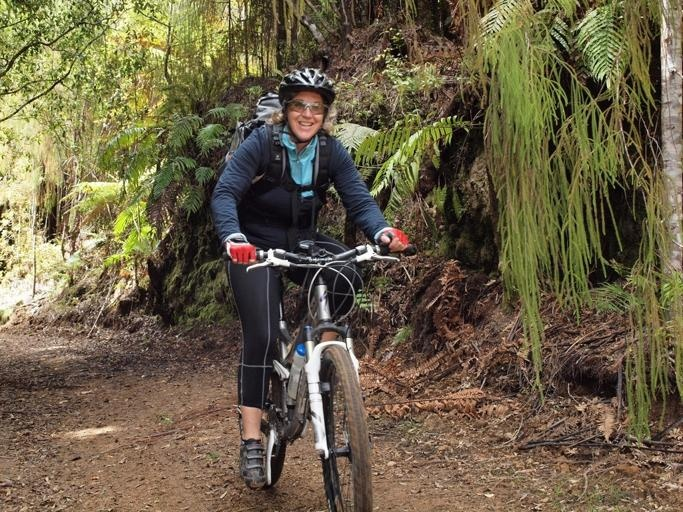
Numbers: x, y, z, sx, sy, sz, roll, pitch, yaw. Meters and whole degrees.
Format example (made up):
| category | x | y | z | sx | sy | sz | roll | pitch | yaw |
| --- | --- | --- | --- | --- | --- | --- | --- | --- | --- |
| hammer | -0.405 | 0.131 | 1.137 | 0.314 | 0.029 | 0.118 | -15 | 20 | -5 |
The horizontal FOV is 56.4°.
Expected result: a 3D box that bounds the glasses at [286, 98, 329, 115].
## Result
| category | x | y | z | sx | sy | sz | roll | pitch | yaw |
| --- | --- | --- | --- | --- | --- | --- | --- | --- | --- |
| glasses | -0.268 | -1.162 | 4.968 | 0.302 | 0.126 | 0.086 | -5 | 4 | -4 |
